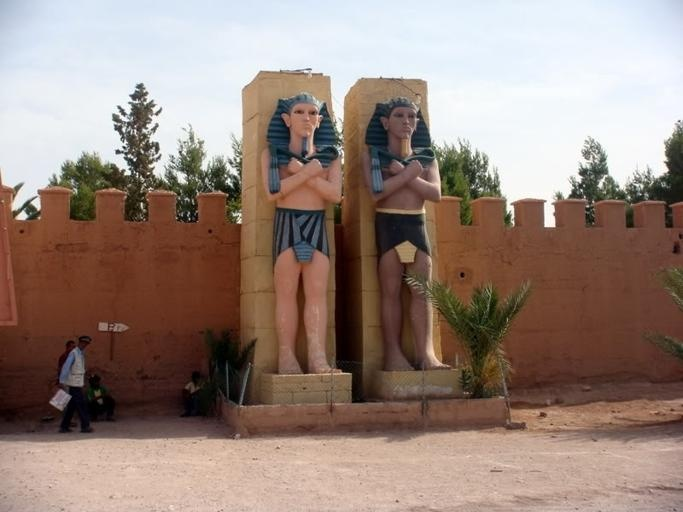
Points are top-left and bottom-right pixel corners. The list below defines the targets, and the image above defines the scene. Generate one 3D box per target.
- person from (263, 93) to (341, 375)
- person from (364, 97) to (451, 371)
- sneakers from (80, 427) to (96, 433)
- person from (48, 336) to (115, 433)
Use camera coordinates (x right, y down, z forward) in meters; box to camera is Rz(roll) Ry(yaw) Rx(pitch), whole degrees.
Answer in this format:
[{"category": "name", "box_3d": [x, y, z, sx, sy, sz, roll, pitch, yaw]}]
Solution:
[{"category": "person", "box_3d": [-0.574, -0.347, 11.098, 1.102, 3.938, 0.666, 0, 2, -2]}, {"category": "person", "box_3d": [0.886, -0.368, 11.491, 1.087, 3.959, 1.008, 0, 2, 2]}, {"category": "sneakers", "box_3d": [-3.470, 2.363, 10.697, 0.170, 0.081, 0.078, 0, 1, 3]}, {"category": "person", "box_3d": [-3.784, 1.814, 11.244, 0.540, 1.295, 1.431, -1, 2, -18]}]
